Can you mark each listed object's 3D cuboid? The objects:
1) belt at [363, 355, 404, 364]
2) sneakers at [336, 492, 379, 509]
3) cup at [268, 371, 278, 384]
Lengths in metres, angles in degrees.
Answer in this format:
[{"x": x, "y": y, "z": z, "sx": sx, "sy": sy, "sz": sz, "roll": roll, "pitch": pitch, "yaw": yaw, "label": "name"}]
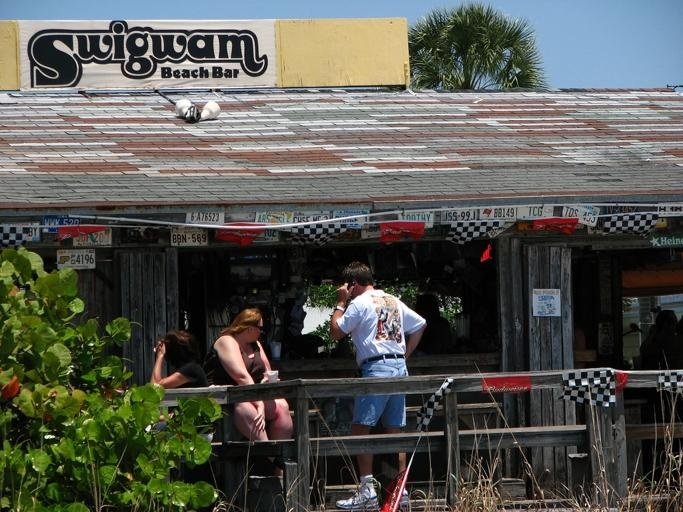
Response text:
[{"x": 0.469, "y": 1.136, "z": 19.019, "sx": 0.441, "sy": 0.100, "sz": 0.145, "roll": -2, "pitch": -1, "yaw": 0, "label": "belt"}, {"x": 0.176, "y": 2.667, "z": 18.571, "sx": 0.519, "sy": 0.202, "sz": 0.187, "roll": 2, "pitch": -4, "yaw": -1, "label": "sneakers"}, {"x": -0.752, "y": 1.347, "z": 19.104, "sx": 0.112, "sy": 0.107, "sz": 0.112, "roll": 2, "pitch": -1, "yaw": 0, "label": "cup"}]
